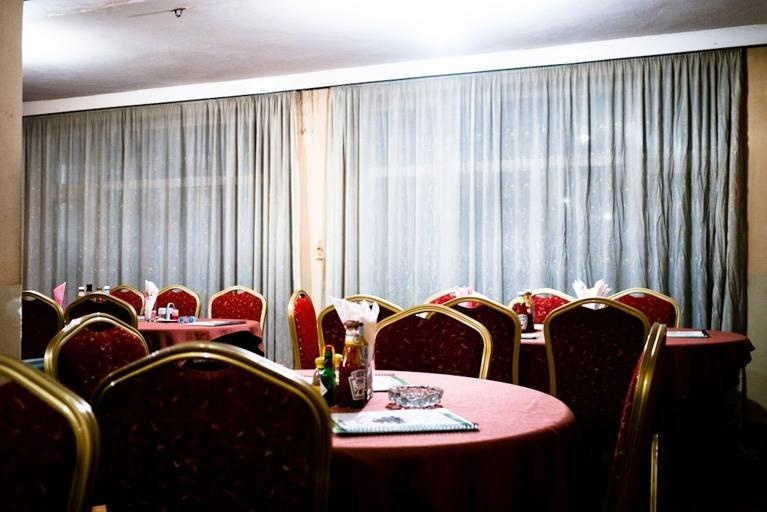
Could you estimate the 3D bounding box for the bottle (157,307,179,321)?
[{"bbox_3d":[-1.789,0.480,4.995,0.096,0.158,0.168,-1,-11,7],"label":"bottle"}]
